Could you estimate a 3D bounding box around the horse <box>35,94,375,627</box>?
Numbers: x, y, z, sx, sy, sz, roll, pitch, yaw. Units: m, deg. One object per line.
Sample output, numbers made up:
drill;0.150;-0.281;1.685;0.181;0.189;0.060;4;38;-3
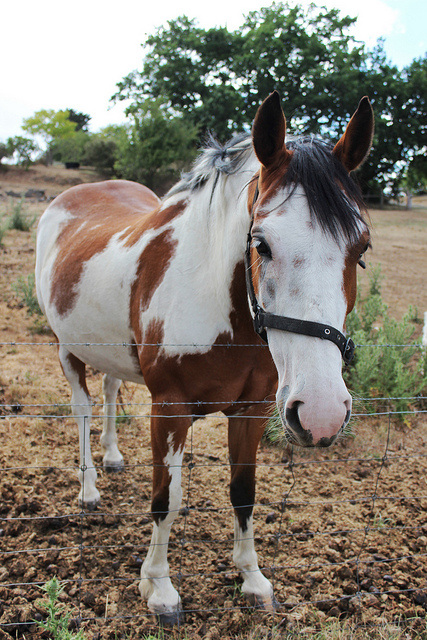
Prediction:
horse;-0.123;0.188;3.929;1.017;2.544;2.326;-4;10;-28
